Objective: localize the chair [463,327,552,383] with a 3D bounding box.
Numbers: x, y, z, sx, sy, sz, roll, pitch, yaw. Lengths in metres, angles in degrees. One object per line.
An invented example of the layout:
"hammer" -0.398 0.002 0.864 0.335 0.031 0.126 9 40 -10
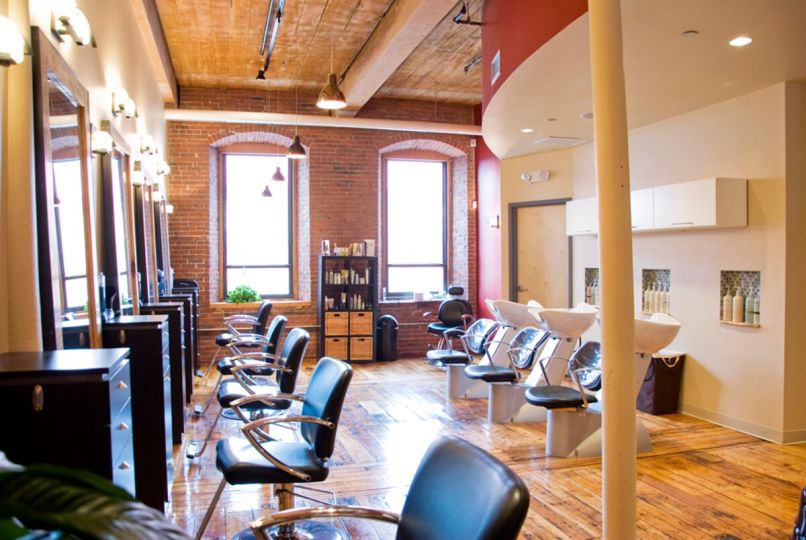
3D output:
"chair" 1.220 0.888 6.789 0.907 0.635 0.698 -2 10 -2

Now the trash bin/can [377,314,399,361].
"trash bin/can" -0.270 1.141 10.083 0.333 0.739 0.198 -1 1 -3

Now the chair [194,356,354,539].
"chair" -0.847 1.198 4.583 1.291 1.488 1.143 5 -4 -18

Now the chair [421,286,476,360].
"chair" 0.715 0.833 9.375 0.655 1.078 0.703 1 5 -23

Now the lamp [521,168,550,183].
"lamp" 1.997 -1.406 9.157 0.153 0.191 0.566 -1 1 -35

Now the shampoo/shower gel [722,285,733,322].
"shampoo/shower gel" 3.491 0.377 6.499 0.091 0.357 0.152 0 1 29

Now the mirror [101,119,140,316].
"mirror" -2.575 -0.432 5.531 0.238 1.661 1.008 -1 1 -22

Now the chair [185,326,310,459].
"chair" -1.368 1.105 5.448 0.950 1.054 0.778 5 0 -23

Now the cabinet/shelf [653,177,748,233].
"cabinet/shelf" 3.298 -0.689 6.520 0.505 0.529 1.067 -1 5 -32

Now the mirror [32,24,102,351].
"mirror" -2.232 -0.457 4.044 0.271 2.021 0.963 -1 1 -20

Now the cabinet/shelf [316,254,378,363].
"cabinet/shelf" -0.951 0.663 10.019 0.942 1.674 0.506 1 -1 -19

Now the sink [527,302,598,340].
"sink" 1.603 0.528 6.216 0.517 0.239 0.472 0 -4 32

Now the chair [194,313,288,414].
"chair" -1.744 1.011 6.396 0.878 1.033 0.879 2 6 -14

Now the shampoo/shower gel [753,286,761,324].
"shampoo/shower gel" 3.659 0.386 6.242 0.051 0.354 0.167 0 1 27

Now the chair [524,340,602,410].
"chair" 1.621 0.972 5.872 0.802 0.676 0.633 0 -3 -17

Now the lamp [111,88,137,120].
"lamp" -2.643 -1.562 5.716 0.128 0.273 0.361 -1 1 -11

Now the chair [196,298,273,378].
"chair" -2.084 0.842 7.623 0.752 0.851 0.604 0 -1 -12

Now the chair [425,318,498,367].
"chair" 0.774 0.927 7.757 0.925 0.637 0.694 1 3 -7

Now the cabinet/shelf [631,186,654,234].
"cabinet/shelf" 2.814 -0.740 7.104 0.352 0.451 0.281 0 1 0
